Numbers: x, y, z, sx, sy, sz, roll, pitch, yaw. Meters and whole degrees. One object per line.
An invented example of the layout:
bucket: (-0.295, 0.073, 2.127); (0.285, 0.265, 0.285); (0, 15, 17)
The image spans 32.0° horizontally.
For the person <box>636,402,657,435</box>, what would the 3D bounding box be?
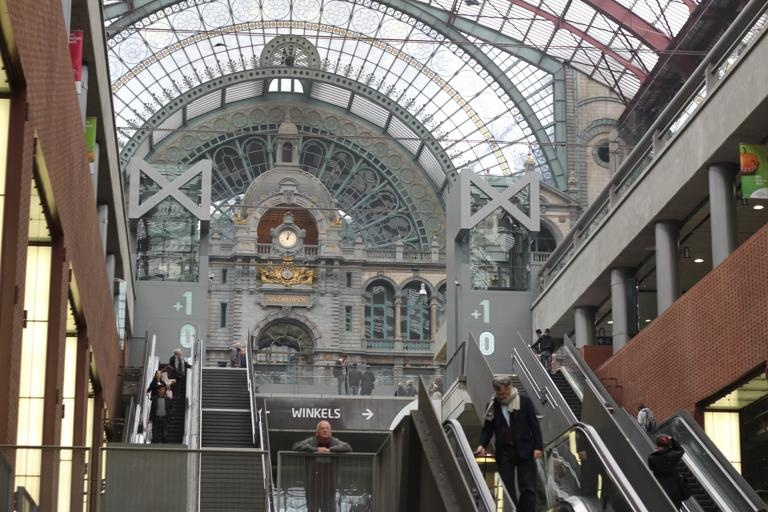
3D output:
person: (5.953, 3.599, 30.095); (0.337, 0.990, 0.414); (10, -44, -8)

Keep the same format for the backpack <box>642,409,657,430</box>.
backpack: (6.000, 3.599, 29.882); (0.248, 0.430, 0.388); (4, 11, -16)

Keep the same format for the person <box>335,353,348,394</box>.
person: (-1.586, 4.392, 49.135); (0.470, 1.496, 1.084); (-1, -22, -1)

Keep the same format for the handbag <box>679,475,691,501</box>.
handbag: (5.628, 4.293, 25.141); (0.186, 0.539, 0.501); (-8, -23, 17)

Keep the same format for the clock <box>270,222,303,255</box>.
clock: (-5.326, -0.949, 73.175); (1.716, 2.077, 0.388); (4, -37, -8)

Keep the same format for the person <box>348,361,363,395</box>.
person: (-1.071, 4.484, 48.757); (0.499, 0.985, 0.475); (-1, -21, -1)

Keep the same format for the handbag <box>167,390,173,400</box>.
handbag: (-5.481, 3.475, 34.145); (0.154, 0.221, 0.078); (0, -13, -14)

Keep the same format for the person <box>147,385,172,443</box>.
person: (-5.667, 3.882, 33.861); (0.493, 1.773, 1.028); (2, -22, -10)

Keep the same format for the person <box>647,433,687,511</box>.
person: (5.364, 3.997, 25.283); (0.642, 1.637, 1.449); (-8, -23, 17)

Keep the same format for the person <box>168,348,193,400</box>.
person: (-5.745, 3.241, 37.615); (0.583, 1.579, 1.932); (2, -22, -9)
